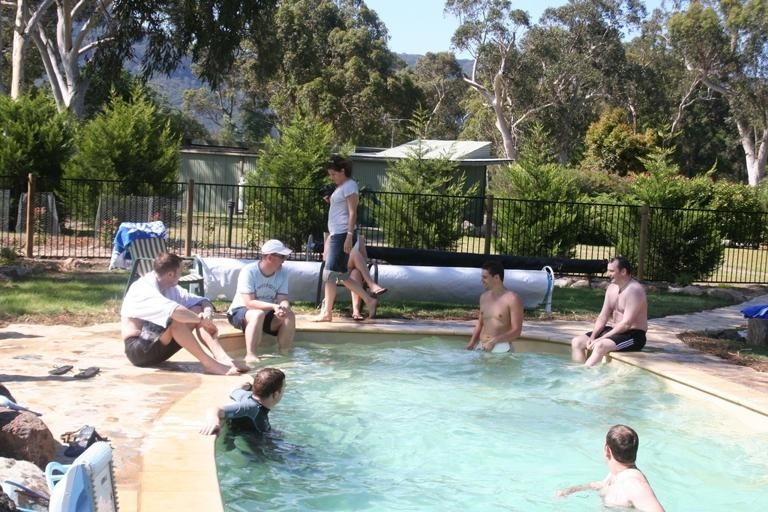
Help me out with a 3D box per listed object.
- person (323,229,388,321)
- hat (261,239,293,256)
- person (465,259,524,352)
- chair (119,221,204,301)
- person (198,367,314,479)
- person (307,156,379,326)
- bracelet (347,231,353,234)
[{"bbox_3d":[-0.412,0.275,12.797,0.722,1.171,1.907,-5,27,-19],"label":"person"},{"bbox_3d":[-1.628,-0.124,10.895,0.449,0.255,0.345,-1,4,-7],"label":"hat"},{"bbox_3d":[1.798,0.801,11.396,0.831,1.427,0.374,2,1,12],"label":"person"},{"bbox_3d":[-4.034,0.204,12.756,1.454,1.635,1.130,8,6,43],"label":"chair"},{"bbox_3d":[-1.589,1.980,8.747,0.946,1.090,1.593,11,11,-18],"label":"person"},{"bbox_3d":[-0.674,-0.297,12.182,0.877,2.794,0.499,2,1,-1],"label":"person"},{"bbox_3d":[-0.574,-0.391,11.983,0.091,0.065,0.070,2,1,4],"label":"bracelet"}]
